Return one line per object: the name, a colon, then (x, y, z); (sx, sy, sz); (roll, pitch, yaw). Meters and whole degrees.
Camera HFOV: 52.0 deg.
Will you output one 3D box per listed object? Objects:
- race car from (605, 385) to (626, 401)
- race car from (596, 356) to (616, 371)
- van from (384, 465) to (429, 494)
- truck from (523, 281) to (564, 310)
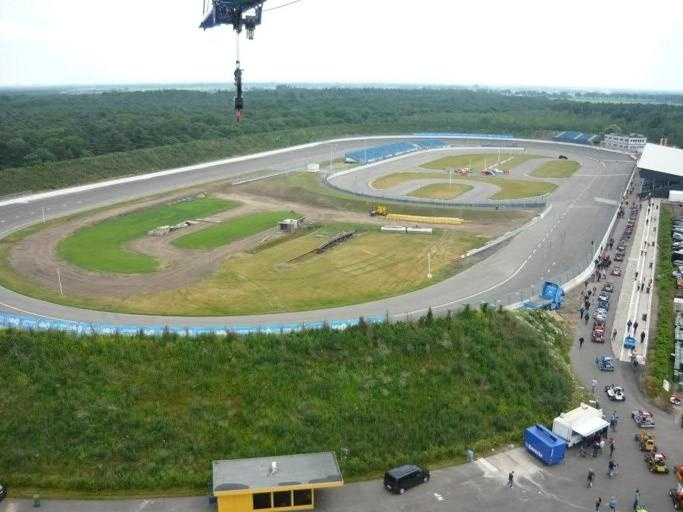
race car: (16.272, 8.182, 41.445); (1.120, 0.505, 1.122); (6, 20, 12)
race car: (16.708, 6.779, 44.093); (1.121, 0.535, 1.485); (10, 21, 22)
van: (3.287, 11.178, 35.180); (2.108, 0.790, 1.050); (-16, 23, -23)
truck: (14.633, 3.307, 50.427); (3.062, 1.748, 1.657); (-33, 42, -27)
